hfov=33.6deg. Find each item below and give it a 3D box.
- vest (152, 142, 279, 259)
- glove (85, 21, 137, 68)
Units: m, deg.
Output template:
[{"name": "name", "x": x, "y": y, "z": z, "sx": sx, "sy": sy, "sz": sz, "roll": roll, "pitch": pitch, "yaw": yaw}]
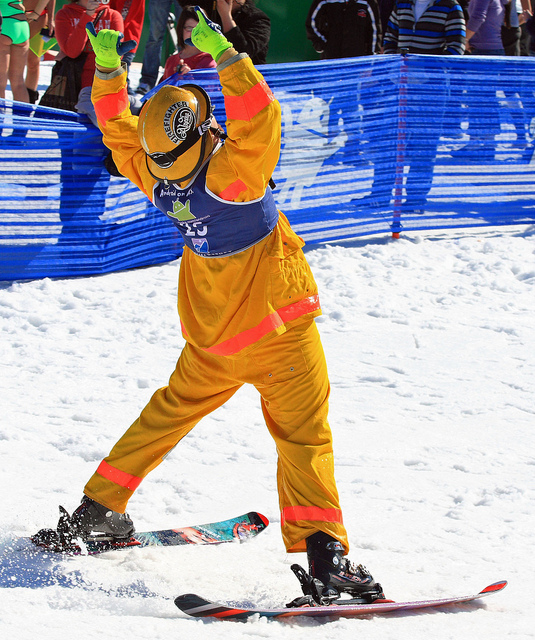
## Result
[{"name": "vest", "x": -0.194, "y": -0.411, "z": 2.972, "sx": 0.354, "sy": 0.401, "sz": 0.397, "roll": -4, "pitch": 23, "yaw": -17}, {"name": "glove", "x": -0.553, "y": -0.928, "z": 3.017, "sx": 0.061, "sy": 0.137, "sz": 0.220, "roll": 17, "pitch": 13, "yaw": 39}]
